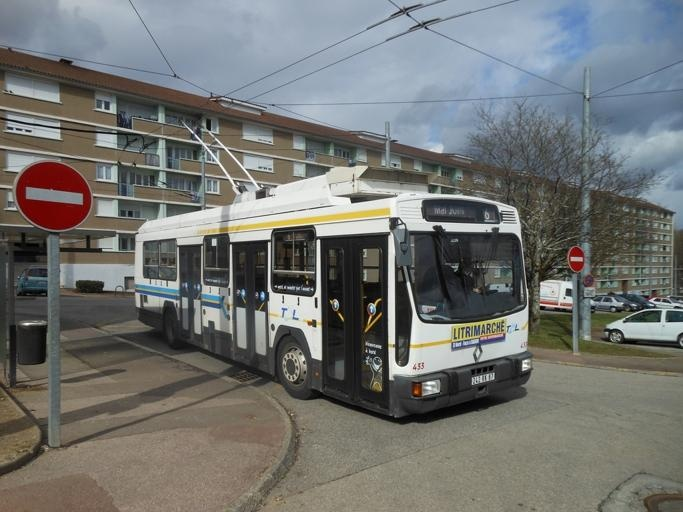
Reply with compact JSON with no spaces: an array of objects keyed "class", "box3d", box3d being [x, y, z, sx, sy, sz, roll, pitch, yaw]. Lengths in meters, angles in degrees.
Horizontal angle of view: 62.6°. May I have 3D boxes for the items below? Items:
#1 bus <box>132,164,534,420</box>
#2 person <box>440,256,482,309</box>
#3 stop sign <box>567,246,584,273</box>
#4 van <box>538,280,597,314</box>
[{"class":"bus","box3d":[-1.481,0.534,14.101,3.817,4.750,11.808,-2,1,-41]},{"class":"person","box3d":[2.058,0.444,9.605,0.882,0.809,0.222,-5,8,-43]},{"class":"stop sign","box3d":[6.873,0.059,16.523,0.853,0.926,0.115,-3,8,-35]},{"class":"van","box3d":[11.970,2.123,30.295,2.320,2.151,3.887,2,-5,-39]}]
